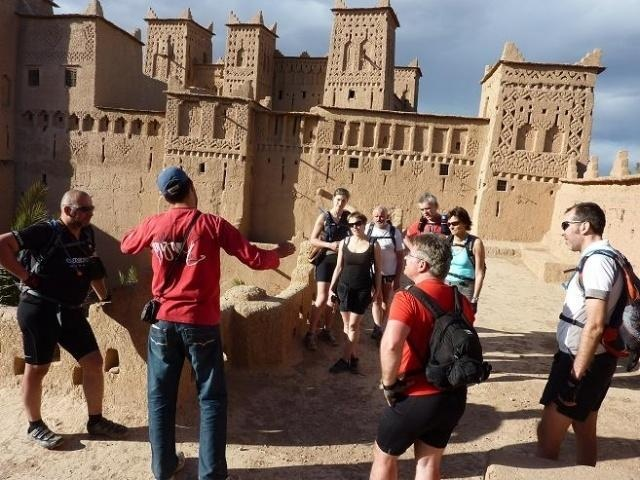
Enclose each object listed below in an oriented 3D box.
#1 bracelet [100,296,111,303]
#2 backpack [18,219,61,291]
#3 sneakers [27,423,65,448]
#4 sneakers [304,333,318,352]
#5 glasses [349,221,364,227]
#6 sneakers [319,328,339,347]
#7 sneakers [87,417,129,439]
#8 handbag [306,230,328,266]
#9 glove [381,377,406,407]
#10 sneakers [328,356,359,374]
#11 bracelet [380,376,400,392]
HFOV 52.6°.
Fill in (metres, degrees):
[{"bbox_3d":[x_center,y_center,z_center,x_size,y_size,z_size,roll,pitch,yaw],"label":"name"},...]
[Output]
[{"bbox_3d":[-2.454,0.695,7.456,0.073,0.078,0.018,4,4,-15],"label":"bracelet"},{"bbox_3d":[-3.056,0.197,7.086,0.470,0.774,0.331,2,8,-26],"label":"backpack"},{"bbox_3d":[-3.010,2.149,7.186,0.466,0.218,0.178,15,27,17],"label":"sneakers"},{"bbox_3d":[-0.136,1.493,9.330,0.142,0.185,0.418,0,-14,-3],"label":"sneakers"},{"bbox_3d":[0.450,-0.197,8.237,0.175,0.093,0.074,10,9,25],"label":"glasses"},{"bbox_3d":[0.168,1.446,9.620,0.139,0.169,0.371,0,1,-42],"label":"sneakers"},{"bbox_3d":[-2.354,2.093,7.288,0.507,0.244,0.197,8,30,-8],"label":"sneakers"},{"bbox_3d":[-0.031,0.134,9.396,0.398,0.540,0.208,10,3,26],"label":"handbag"},{"bbox_3d":[0.659,1.401,6.017,0.122,0.276,0.336,-7,14,11],"label":"glove"},{"bbox_3d":[0.339,1.670,8.596,0.437,0.183,0.173,2,-1,-10],"label":"sneakers"},{"bbox_3d":[0.653,1.358,6.005,0.073,0.211,0.088,27,4,-10],"label":"bracelet"}]
